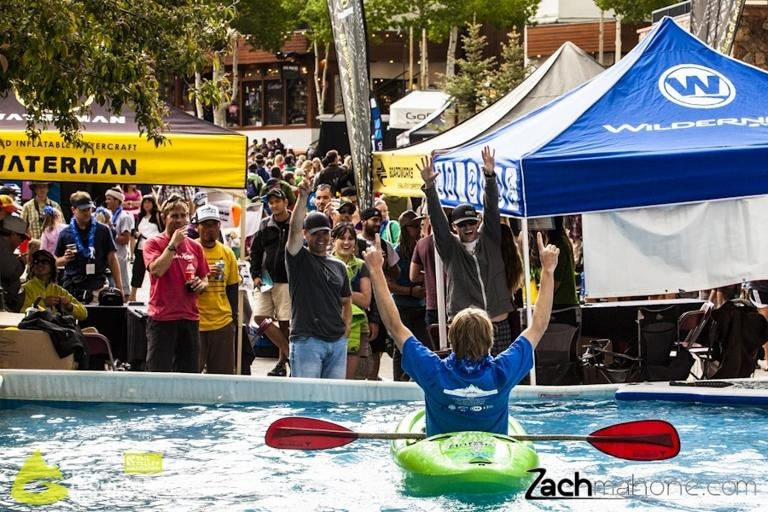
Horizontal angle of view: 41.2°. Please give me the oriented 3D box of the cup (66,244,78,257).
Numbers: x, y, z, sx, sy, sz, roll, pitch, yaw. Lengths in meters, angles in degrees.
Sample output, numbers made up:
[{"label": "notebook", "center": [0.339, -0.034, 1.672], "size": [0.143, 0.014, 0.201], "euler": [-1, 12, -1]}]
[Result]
[{"label": "cup", "center": [-4.448, -0.084, 14.558], "size": [0.141, 0.136, 0.142], "euler": [0, -1, 0]}]

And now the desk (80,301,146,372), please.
[{"label": "desk", "center": [-3.567, 1.049, 14.115], "size": [1.210, 0.898, 0.809], "euler": [3, 7, 22]}]

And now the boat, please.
[{"label": "boat", "center": [0.957, 1.999, 10.492], "size": [1.449, 0.466, 2.394], "euler": [1, 3, 4]}]

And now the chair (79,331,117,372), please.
[{"label": "chair", "center": [-3.857, 1.284, 13.590], "size": [0.395, 0.430, 0.394], "euler": [-4, 13, 29]}]

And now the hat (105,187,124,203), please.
[{"label": "hat", "center": [-4.860, -1.096, 18.487], "size": [0.314, 0.250, 0.263], "euler": [-1, 8, -29]}]

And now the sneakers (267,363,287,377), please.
[{"label": "sneakers", "center": [-1.481, 1.621, 14.448], "size": [0.138, 0.165, 0.417], "euler": [-4, -10, 28]}]

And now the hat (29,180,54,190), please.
[{"label": "hat", "center": [-5.599, -1.153, 16.657], "size": [0.504, 0.152, 0.509], "euler": [-1, -1, -9]}]
